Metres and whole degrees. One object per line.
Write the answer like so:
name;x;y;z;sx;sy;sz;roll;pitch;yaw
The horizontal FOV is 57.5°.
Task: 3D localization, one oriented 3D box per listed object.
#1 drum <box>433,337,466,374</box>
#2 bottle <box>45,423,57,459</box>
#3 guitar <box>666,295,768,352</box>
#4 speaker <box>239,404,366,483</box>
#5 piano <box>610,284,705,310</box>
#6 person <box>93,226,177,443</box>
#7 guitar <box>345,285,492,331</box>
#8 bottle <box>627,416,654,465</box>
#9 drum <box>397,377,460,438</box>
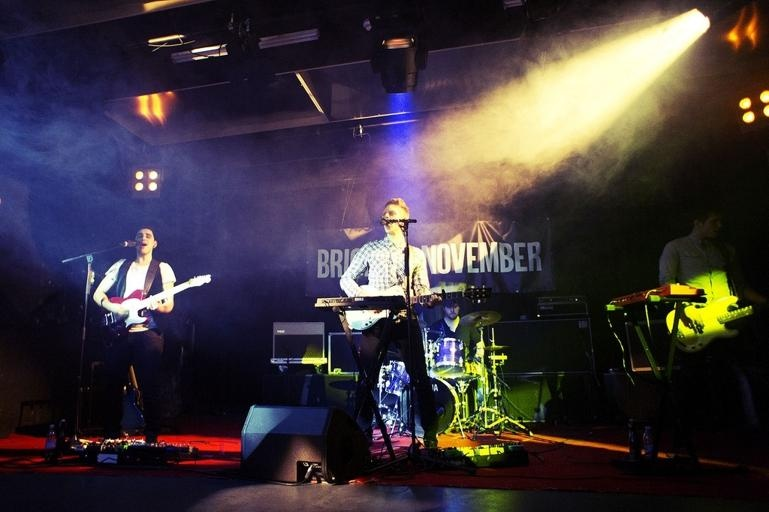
drum;0.880;1.348;9.562;0.477;0.430;0.492;15;-18;-36
bottle;-3.761;2.095;7.909;0.135;0.356;0.206;-2;4;-26
guitar;4.151;0.902;8.887;2.169;0.751;0.731;-2;4;-41
speaker;-0.850;1.980;7.531;1.174;0.716;0.861;-7;-8;33
piano;2.907;0.454;7.508;0.971;0.298;0.277;1;3;24
person;-3.060;0.934;8.686;0.917;2.521;1.003;-1;3;-21
guitar;0.265;0.607;7.706;1.478;0.549;0.680;0;3;5
bottle;2.730;1.950;7.417;0.261;0.398;0.333;1;3;13
drum;0.720;2.015;9.711;0.664;0.740;0.556;-2;-16;-4
